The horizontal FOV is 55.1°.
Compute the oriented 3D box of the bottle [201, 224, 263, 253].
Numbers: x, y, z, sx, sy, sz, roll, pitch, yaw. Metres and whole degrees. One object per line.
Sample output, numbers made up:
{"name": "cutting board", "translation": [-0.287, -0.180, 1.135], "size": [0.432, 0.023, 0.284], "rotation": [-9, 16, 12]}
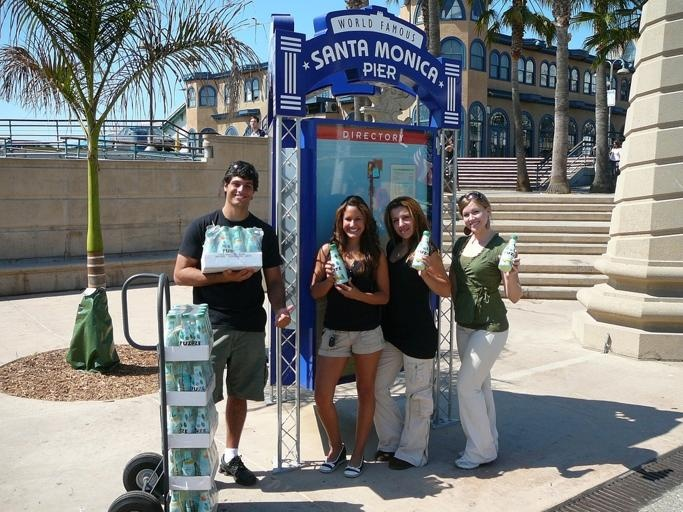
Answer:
{"name": "bottle", "translation": [-0.982, -0.157, 5.925], "size": [0.528, 0.206, 0.261], "rotation": [-2, 14, -10]}

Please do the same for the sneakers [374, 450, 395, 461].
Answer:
{"name": "sneakers", "translation": [0.434, 2.035, 6.660], "size": [0.139, 0.113, 0.053], "rotation": [6, 2, 2]}

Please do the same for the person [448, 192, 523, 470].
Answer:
{"name": "person", "translation": [1.419, 0.725, 6.593], "size": [0.680, 2.674, 0.868], "rotation": [2, 13, 9]}

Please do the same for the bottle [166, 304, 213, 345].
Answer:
{"name": "bottle", "translation": [-1.286, 0.587, 5.474], "size": [0.366, 0.317, 0.350], "rotation": [-2, 14, -10]}

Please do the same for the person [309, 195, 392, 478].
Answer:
{"name": "person", "translation": [0.072, 0.795, 6.419], "size": [0.773, 2.690, 0.731], "rotation": [1, 13, 4]}

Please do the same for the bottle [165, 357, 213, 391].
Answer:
{"name": "bottle", "translation": [-1.277, 0.974, 5.384], "size": [0.291, 0.303, 0.213], "rotation": [0, 5, -2]}

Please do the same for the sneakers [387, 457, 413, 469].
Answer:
{"name": "sneakers", "translation": [0.571, 2.053, 6.500], "size": [0.218, 0.100, 0.099], "rotation": [0, 9, 6]}

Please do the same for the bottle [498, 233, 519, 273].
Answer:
{"name": "bottle", "translation": [1.620, -0.027, 6.361], "size": [0.254, 0.358, 0.199], "rotation": [-12, 18, -41]}

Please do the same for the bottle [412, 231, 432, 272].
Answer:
{"name": "bottle", "translation": [0.782, -0.061, 6.348], "size": [0.157, 0.365, 0.278], "rotation": [3, 14, 13]}
